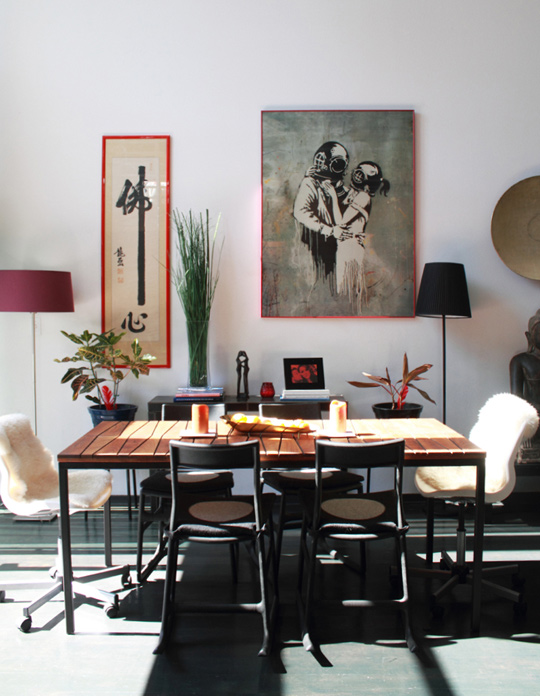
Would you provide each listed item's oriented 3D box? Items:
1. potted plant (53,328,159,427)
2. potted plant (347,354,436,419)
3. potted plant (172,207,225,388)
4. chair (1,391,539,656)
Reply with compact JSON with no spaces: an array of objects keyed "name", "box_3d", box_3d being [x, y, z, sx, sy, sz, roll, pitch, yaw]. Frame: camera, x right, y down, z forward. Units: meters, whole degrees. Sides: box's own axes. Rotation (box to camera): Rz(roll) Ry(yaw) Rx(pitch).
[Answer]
[{"name":"potted plant","box_3d":[-1.032,0.283,4.137,0.647,0.784,0.595,-8,-1,11]},{"name":"potted plant","box_3d":[0.808,0.244,4.184,0.452,0.402,0.437,0,-4,5]},{"name":"potted plant","box_3d":[-0.474,-0.346,4.178,0.316,1.189,0.331,-1,4,-8]},{"name":"chair","box_3d":[-0.078,0.671,2.752,2.100,0.858,0.762,0,3,2]}]
